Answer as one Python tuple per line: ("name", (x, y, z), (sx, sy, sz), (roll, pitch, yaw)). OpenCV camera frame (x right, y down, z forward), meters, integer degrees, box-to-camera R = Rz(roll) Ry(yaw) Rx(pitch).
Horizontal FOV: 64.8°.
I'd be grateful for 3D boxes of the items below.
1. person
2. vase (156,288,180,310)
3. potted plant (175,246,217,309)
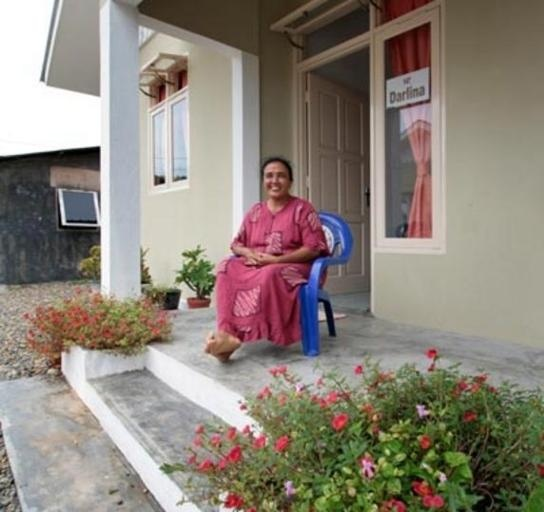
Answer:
("person", (-0.098, -0.010, 2.619), (0.601, 1.228, 0.851), (1, 4, 39))
("vase", (-1.090, 0.475, 4.627), (0.195, 0.177, 0.178), (6, -11, -44))
("potted plant", (-0.826, 0.233, 5.016), (0.561, 1.007, 0.667), (-2, 1, -14))
